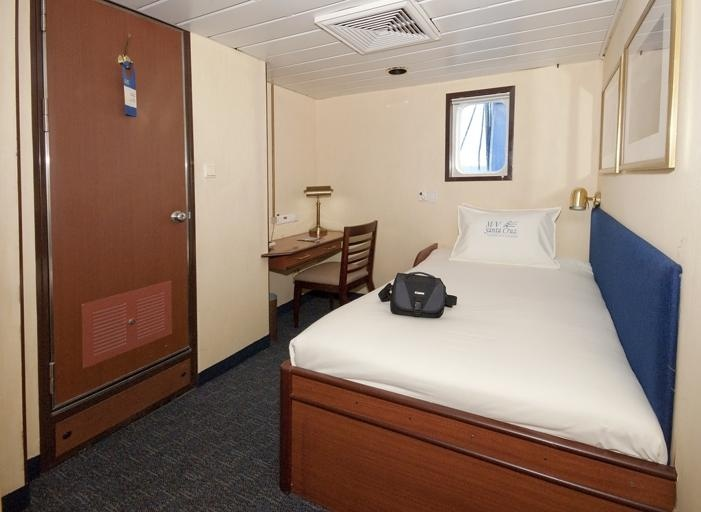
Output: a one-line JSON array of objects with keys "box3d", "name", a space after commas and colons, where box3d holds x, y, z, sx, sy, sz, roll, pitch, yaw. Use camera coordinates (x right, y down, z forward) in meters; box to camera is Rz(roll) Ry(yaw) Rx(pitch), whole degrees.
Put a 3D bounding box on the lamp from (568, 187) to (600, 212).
[{"box3d": [1.792, -0.422, 3.740, 0.190, 0.226, 0.531, 4, 15, 27], "name": "lamp"}]
